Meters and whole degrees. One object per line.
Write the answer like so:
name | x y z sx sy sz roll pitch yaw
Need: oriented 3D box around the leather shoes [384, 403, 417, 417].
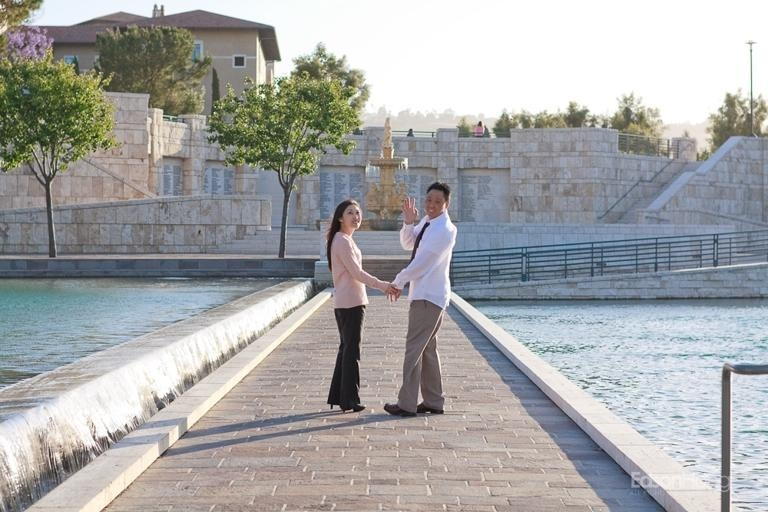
leather shoes | 0.288 2.897 20.808 0.675 0.252 0.223 11 -6 6
